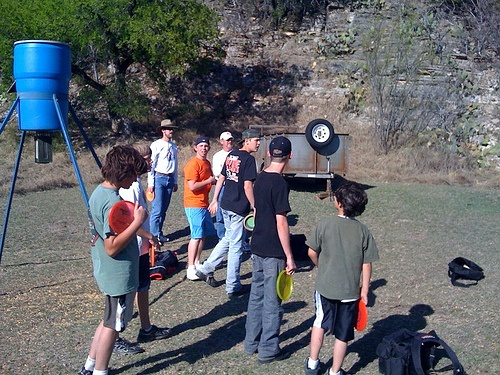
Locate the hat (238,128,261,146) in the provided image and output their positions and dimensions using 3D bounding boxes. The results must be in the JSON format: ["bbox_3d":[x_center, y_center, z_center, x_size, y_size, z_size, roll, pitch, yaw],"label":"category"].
[{"bbox_3d":[0.003,-1.003,12.855,0.302,0.194,0.431,-7,4,2],"label":"hat"}]

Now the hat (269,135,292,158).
[{"bbox_3d":[0.521,-0.716,11.217,0.288,0.238,0.397,5,25,13],"label":"hat"}]

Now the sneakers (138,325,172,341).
[{"bbox_3d":[-1.692,2.582,11.631,0.603,0.276,0.232,-4,3,-13],"label":"sneakers"}]

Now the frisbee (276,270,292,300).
[{"bbox_3d":[0.586,1.678,11.156,0.426,0.440,0.075,14,-5,-43],"label":"frisbee"}]

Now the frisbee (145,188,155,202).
[{"bbox_3d":[-2.131,0.161,14.034,0.235,0.241,0.084,13,15,30],"label":"frisbee"}]

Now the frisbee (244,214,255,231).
[{"bbox_3d":[0.040,0.692,12.974,0.101,0.289,0.291,5,23,44],"label":"frisbee"}]

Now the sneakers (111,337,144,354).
[{"bbox_3d":[-2.120,2.742,11.244,0.638,0.291,0.236,2,-3,2],"label":"sneakers"}]

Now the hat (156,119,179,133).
[{"bbox_3d":[-1.863,-1.425,14.706,0.289,0.285,0.633,-1,14,-11],"label":"hat"}]

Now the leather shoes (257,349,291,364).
[{"bbox_3d":[0.391,2.887,11.226,0.578,0.244,0.204,-6,8,-24],"label":"leather shoes"}]

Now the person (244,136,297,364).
[{"bbox_3d":[0.342,1.056,11.186,0.801,3.773,1.030,1,13,0],"label":"person"}]
